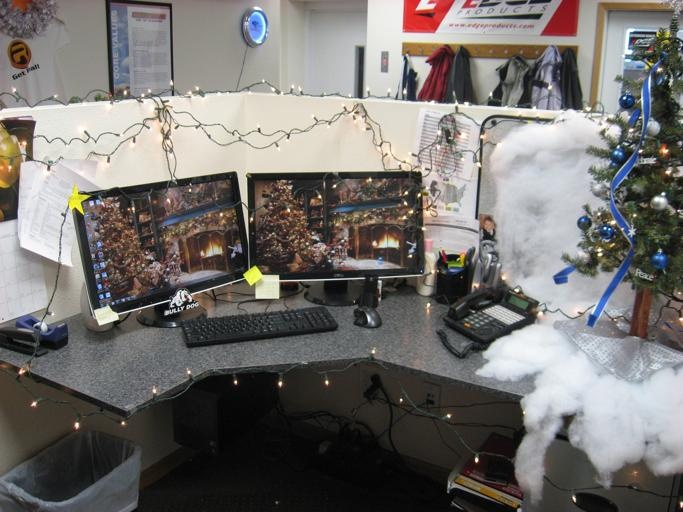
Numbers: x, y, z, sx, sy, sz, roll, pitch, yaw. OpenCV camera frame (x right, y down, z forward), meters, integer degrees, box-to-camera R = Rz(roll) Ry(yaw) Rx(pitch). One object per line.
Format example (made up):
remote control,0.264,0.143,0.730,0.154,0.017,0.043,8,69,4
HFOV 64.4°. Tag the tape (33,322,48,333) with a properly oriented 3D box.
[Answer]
tape,-1.027,0.245,1.861,0.036,0.034,0.036,-23,23,-11

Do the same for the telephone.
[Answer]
telephone,0.582,0.221,2.067,0.270,0.089,0.199,-21,31,-32

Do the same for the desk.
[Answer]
desk,-0.291,-0.119,2.053,1.690,0.937,1.058,-1,16,-6

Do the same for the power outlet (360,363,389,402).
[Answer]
power outlet,0.155,0.620,2.625,0.114,0.165,0.048,-21,15,-15

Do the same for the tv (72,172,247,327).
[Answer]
tv,-0.697,-0.025,2.027,0.515,0.431,0.174,-12,18,-38

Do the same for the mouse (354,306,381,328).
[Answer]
mouse,0.106,0.234,2.115,0.094,0.065,0.064,4,14,27
